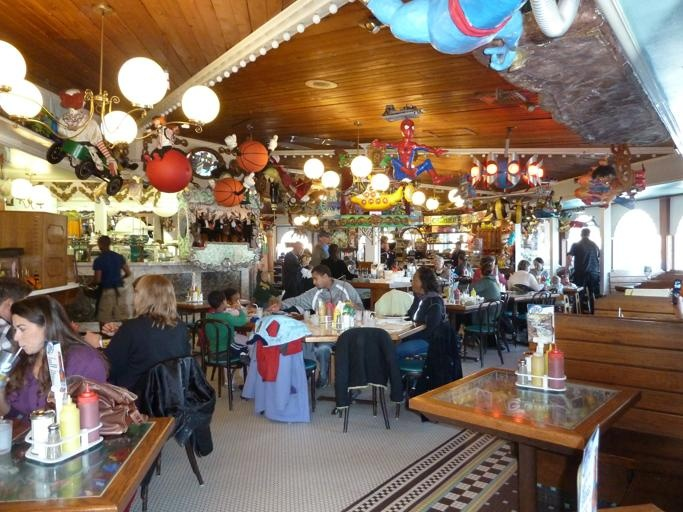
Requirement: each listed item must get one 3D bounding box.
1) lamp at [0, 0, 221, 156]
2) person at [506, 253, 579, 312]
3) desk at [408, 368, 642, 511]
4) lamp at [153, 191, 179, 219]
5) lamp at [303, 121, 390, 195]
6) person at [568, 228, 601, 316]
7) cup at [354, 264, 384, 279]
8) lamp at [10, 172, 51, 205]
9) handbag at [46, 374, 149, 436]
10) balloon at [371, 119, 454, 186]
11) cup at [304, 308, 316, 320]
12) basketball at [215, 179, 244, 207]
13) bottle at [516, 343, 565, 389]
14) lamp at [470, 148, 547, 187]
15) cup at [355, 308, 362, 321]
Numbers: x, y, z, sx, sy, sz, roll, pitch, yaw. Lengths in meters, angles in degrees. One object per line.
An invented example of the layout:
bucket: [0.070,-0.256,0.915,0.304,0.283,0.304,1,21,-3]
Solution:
lamp: [-2.049,-1.375,4.235,1.685,0.948,1.715,1,-1,7]
person: [3.771,0.494,9.459,0.780,1.839,0.747,-14,18,-18]
desk: [1.027,0.637,2.987,1.082,0.993,1.067,-2,2,-44]
lamp: [-3.607,-1.023,10.247,0.486,0.478,0.582,-1,3,-7]
lamp: [0.280,-1.649,8.275,1.226,0.458,1.249,2,1,40]
person: [4.847,0.357,10.149,0.676,1.823,0.608,1,4,-6]
cup: [0.597,0.445,10.828,0.574,0.364,0.322,2,4,31]
lamp: [-4.773,-0.948,7.603,0.694,0.337,0.681,1,2,-41]
handbag: [-1.177,0.728,2.453,0.370,0.263,0.140,4,13,4]
balloon: [1.037,-1.560,7.722,1.217,0.957,0.354,8,14,36]
cup: [-0.359,0.665,5.694,0.104,0.069,0.101,0,-1,0]
basketball: [-1.736,-0.965,7.938,0.467,0.437,0.448,2,-9,-4]
bottle: [1.230,0.686,3.131,0.301,0.272,0.258,2,1,33]
lamp: [2.786,-1.378,8.408,1.189,0.486,1.188,1,6,17]
cup: [0.160,0.630,5.280,0.086,0.122,0.083,-1,-1,0]
